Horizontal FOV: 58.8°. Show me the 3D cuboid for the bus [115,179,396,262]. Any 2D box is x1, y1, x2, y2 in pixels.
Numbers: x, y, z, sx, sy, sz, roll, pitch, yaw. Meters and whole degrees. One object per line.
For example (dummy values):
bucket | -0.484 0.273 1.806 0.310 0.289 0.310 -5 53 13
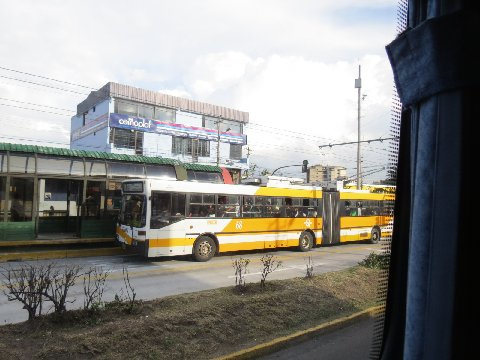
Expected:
bus | 0.958 1.620 18.538 12.174 2.864 2.435 4 -4 -34
